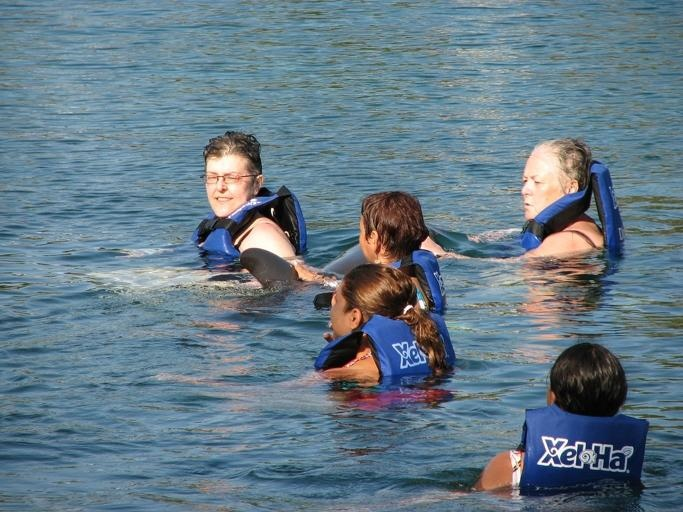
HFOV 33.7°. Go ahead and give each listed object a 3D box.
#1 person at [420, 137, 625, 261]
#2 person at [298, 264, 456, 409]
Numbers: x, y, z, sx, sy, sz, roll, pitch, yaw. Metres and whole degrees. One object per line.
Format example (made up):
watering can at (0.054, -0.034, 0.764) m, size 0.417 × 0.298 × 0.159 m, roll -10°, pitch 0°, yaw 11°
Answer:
person at (3.122, -0.786, 15.585) m, size 1.410 × 1.645 × 0.953 m, roll -4°, pitch 18°, yaw 8°
person at (0.424, 0.797, 11.805) m, size 1.428 × 1.329 × 1.139 m, roll -5°, pitch 16°, yaw 3°
